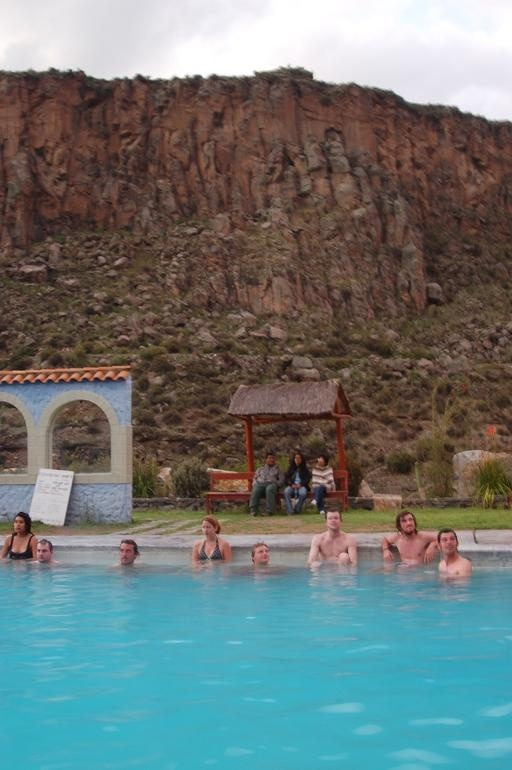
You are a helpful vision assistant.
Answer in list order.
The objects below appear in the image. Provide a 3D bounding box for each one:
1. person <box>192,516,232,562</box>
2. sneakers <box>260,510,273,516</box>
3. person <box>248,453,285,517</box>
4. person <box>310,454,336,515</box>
[{"bbox_3d":[-0.503,1.840,13.429,0.570,0.698,0.394,-3,-12,11],"label":"person"},{"bbox_3d":[0.202,2.022,17.891,0.195,0.095,0.177,-2,3,11],"label":"sneakers"},{"bbox_3d":[0.192,1.586,18.263,0.539,0.937,0.969,-3,3,0],"label":"person"},{"bbox_3d":[1.099,1.558,18.052,0.362,0.928,0.977,-2,3,3],"label":"person"}]
